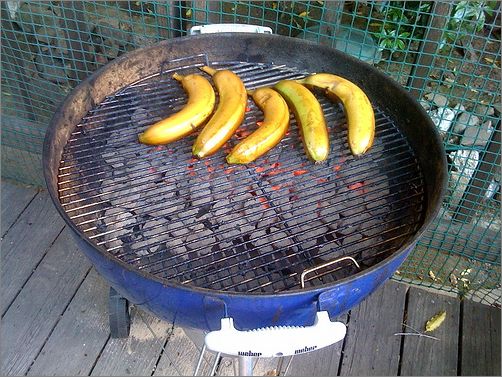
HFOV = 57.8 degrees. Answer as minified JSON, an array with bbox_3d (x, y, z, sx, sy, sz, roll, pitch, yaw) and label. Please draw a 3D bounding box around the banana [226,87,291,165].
[{"bbox_3d":[0.040,-0.214,1.536,0.158,0.077,0.323,13,62,12],"label":"banana"}]
